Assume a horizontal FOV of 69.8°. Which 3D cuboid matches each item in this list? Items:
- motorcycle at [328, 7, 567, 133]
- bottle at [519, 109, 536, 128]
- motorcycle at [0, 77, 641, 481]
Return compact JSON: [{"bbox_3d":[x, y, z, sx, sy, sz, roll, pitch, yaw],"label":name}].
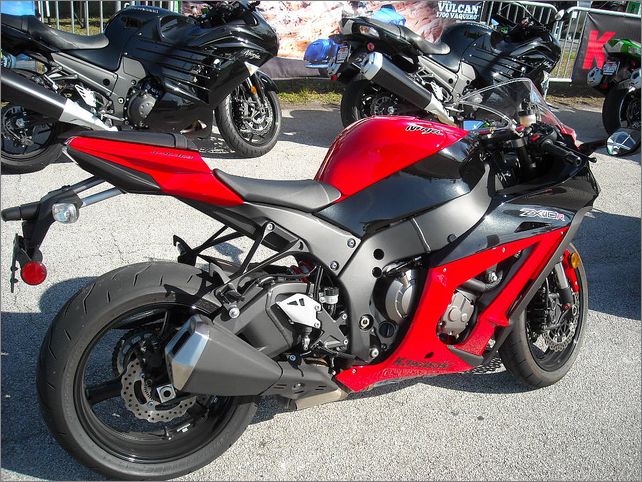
[{"bbox_3d":[1.749,-2.422,7.023,3.959,1.777,1.709,-10,16,-16],"label":"motorcycle"},{"bbox_3d":[1.139,-0.685,2.593,0.105,0.091,0.114,2,21,10],"label":"bottle"},{"bbox_3d":[0.004,0.209,2.351,2.549,1.564,1.024,-5,41,-29],"label":"motorcycle"}]
